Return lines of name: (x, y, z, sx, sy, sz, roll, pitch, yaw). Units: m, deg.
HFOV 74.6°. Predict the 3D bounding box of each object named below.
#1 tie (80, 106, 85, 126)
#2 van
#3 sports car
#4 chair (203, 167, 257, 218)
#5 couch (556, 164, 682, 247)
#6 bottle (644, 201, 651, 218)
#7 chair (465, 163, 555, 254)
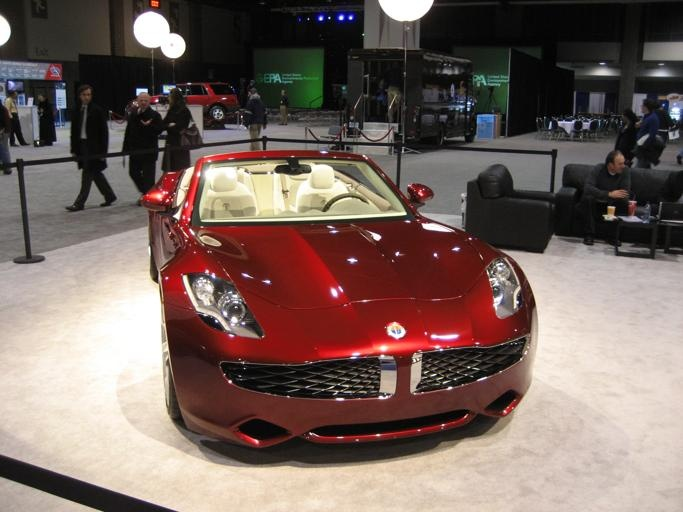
tie: (-5.283, -2.855, 9.218, 0.135, 0.342, 0.039, 4, 12, 14)
van: (3.498, -7.602, 21.576, 4.364, 3.533, 7.625, 8, 21, 26)
sports car: (-0.312, -0.292, 3.475, 1.727, 1.012, 3.248, -4, 19, -15)
chair: (-0.909, -0.459, 3.638, 0.339, 0.460, 0.502, 0, 1, -6)
couch: (4.666, -0.784, 7.517, 1.336, 0.808, 0.719, 4, 21, 15)
bottle: (4.808, -0.697, 7.051, 0.060, 0.221, 0.258, 9, 15, 34)
chair: (2.768, -0.744, 7.657, 1.462, 1.512, 1.481, 5, 24, 16)
